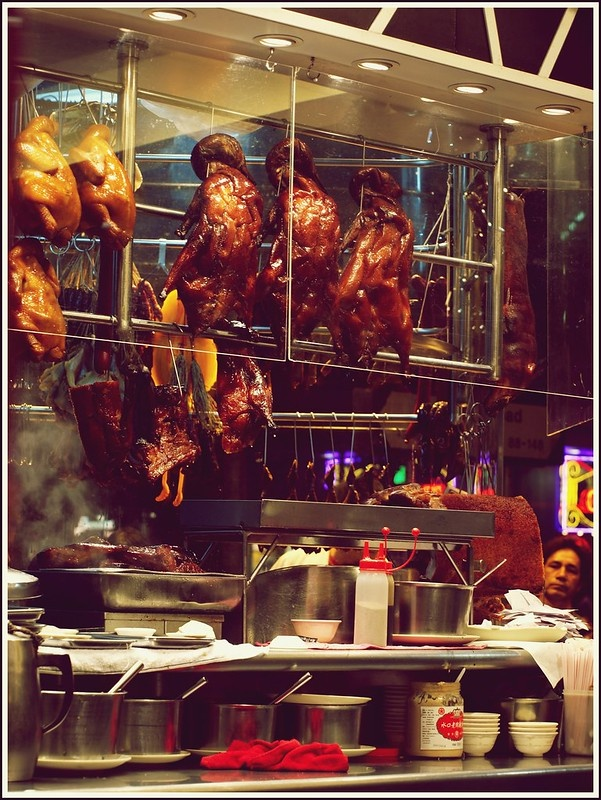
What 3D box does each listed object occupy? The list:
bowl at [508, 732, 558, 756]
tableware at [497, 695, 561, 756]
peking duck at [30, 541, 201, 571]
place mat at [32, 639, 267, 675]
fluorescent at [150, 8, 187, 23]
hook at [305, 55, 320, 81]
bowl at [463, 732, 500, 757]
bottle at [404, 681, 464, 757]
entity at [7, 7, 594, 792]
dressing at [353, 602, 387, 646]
[{"bbox_3d":[0.733,1.076,3.578,0.096,0.051,0.096,2,-10,0],"label":"bowl"},{"bbox_3d":[0.741,1.063,3.685,0.194,0.141,0.170,12,-16,-37],"label":"tableware"},{"bbox_3d":[-0.587,0.487,3.482,0.311,0.071,0.189,5,-8,-16],"label":"peking duck"},{"bbox_3d":[-0.368,0.639,2.813,0.595,0.088,0.182,2,-5,-31],"label":"place mat"},{"bbox_3d":[-0.396,-1.156,3.381,0.109,0.010,0.099,0,-5,-8],"label":"fluorescent"},{"bbox_3d":[0.034,-1.116,3.761,0.046,0.097,0.018,3,-8,-38],"label":"hook"},{"bbox_3d":[0.551,1.071,3.483,0.088,0.060,0.087,0,-18,0],"label":"bowl"},{"bbox_3d":[0.407,0.966,3.423,0.160,0.220,0.204,-2,-12,19],"label":"bottle"},{"bbox_3d":[-0.006,-0.076,3.684,0.748,2.030,2.269,-8,-12,39],"label":"entity"},{"bbox_3d":[0.199,0.660,3.333,0.112,0.113,0.108,-3,-9,16],"label":"dressing"}]
